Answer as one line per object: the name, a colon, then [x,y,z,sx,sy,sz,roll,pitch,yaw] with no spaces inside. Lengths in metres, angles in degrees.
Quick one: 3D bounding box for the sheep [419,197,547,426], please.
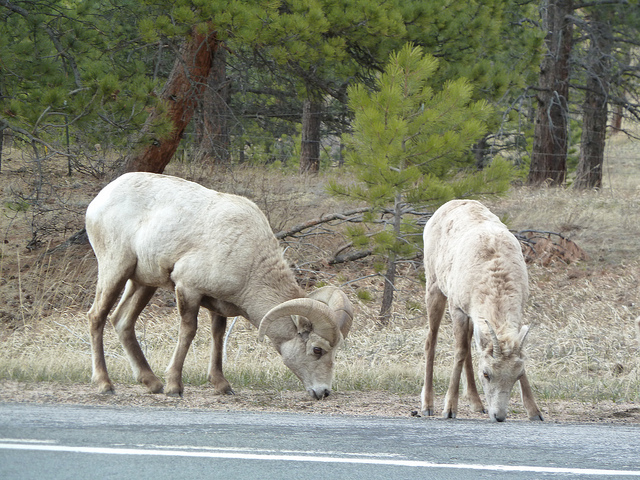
sheep: [2.337,1.061,16.235,1.383,3.216,2.454,0,5,-14]
